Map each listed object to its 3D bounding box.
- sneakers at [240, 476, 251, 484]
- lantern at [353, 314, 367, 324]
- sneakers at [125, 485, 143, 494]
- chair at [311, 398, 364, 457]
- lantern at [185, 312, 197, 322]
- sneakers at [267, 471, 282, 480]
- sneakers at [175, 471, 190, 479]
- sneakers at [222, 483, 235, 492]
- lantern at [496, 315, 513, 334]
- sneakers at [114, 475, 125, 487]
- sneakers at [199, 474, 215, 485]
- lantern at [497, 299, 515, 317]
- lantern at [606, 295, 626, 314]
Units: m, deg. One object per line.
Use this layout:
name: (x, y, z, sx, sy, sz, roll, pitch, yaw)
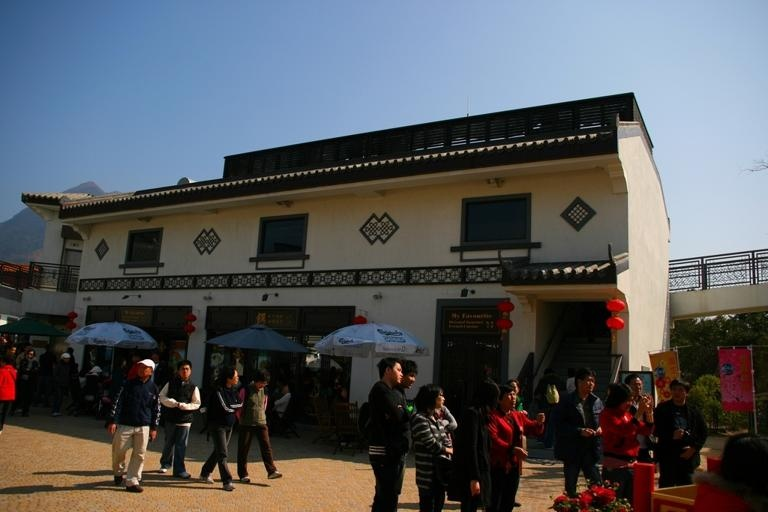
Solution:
sneakers: (-2.848, 4.560, 12.342, 0.172, 0.071, 0.102, 0, -3, -8)
lantern: (-0.740, 1.859, 17.982, 0.304, 0.201, 0.302, 7, -10, -35)
sneakers: (-4.723, 4.369, 11.403, 0.364, 0.141, 0.120, -1, -3, -1)
chair: (-1.281, 4.579, 16.579, 1.254, 1.243, 1.882, 5, -11, -12)
lantern: (-6.847, 2.110, 21.402, 0.357, 0.326, 0.532, 5, -11, -13)
sneakers: (-2.286, 4.540, 12.621, 0.276, 0.183, 0.287, 5, -11, -11)
sneakers: (-4.200, 4.526, 12.555, 0.332, 0.132, 0.122, -1, -7, 9)
sneakers: (-3.056, 4.500, 11.854, 0.261, 0.117, 0.100, -9, -15, 36)
lantern: (3.285, 1.826, 16.466, 0.460, 0.489, 0.457, 1, -19, 10)
sneakers: (-5.187, 4.330, 11.814, 0.208, 0.196, 0.331, 7, -11, -22)
sneakers: (-3.565, 4.534, 12.340, 0.381, 0.160, 0.128, 0, -7, 13)
lantern: (3.294, 1.382, 16.428, 0.427, 0.422, 0.424, 1, -10, 2)
lantern: (5.889, 1.246, 15.497, 0.532, 0.546, 0.529, 2, -3, -28)
